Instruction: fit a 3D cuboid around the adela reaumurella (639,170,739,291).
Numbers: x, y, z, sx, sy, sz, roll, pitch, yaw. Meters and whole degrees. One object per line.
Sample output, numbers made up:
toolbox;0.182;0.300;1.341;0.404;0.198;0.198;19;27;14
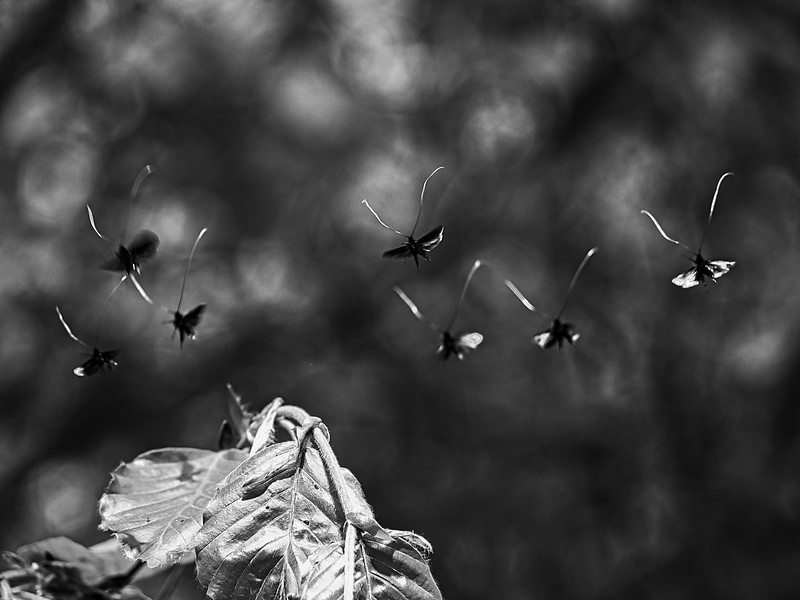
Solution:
adela reaumurella;0.274;-0.056;1.094;0.049;0.112;0.120;14;-13;17

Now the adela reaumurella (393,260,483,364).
adela reaumurella;0.044;0.032;1.164;0.091;0.098;0.052;-4;41;-2

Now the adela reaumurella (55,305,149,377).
adela reaumurella;-0.313;0.045;1.242;0.054;0.065;0.037;-23;-2;-38

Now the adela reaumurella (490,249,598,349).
adela reaumurella;0.141;0.013;1.091;0.079;0.046;0.075;-20;-7;8

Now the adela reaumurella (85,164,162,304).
adela reaumurella;-0.283;-0.071;1.225;0.083;0.096;0.051;37;27;-25
